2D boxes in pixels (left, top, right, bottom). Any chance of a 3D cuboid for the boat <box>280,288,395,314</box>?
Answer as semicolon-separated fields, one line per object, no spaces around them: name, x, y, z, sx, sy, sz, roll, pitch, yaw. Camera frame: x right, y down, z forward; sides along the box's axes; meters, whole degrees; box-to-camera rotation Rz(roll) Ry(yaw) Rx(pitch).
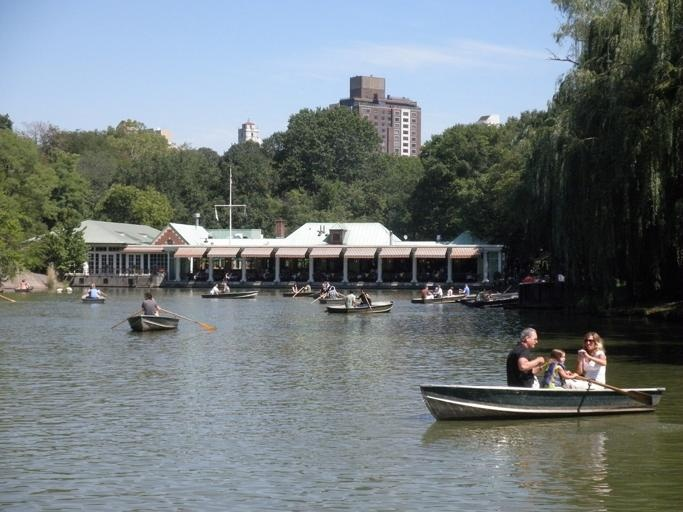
boat;1.183;3.051;75.179;4.123;1.439;2.928;-2;1;25

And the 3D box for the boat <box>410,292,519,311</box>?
boat;8.523;2.906;79.857;4.468;1.104;3.847;-4;-1;21

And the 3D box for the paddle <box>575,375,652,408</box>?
paddle;9.317;4.749;42.854;2.567;0.370;0.203;18;33;-7

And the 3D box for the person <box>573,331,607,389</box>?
person;8.478;3.632;42.559;1.126;1.941;0.935;8;-12;-38

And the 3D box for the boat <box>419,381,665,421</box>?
boat;6.959;5.128;43.099;8.918;1.390;2.086;2;-14;-20
